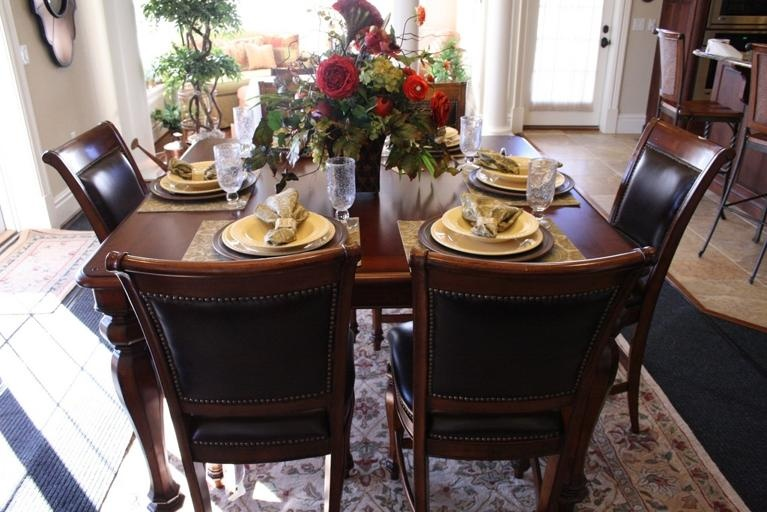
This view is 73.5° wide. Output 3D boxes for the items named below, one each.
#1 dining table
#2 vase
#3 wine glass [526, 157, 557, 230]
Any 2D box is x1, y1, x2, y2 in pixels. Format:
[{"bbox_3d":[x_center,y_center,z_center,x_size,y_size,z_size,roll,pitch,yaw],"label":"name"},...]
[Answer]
[{"bbox_3d":[-0.462,0.497,2.516,1.698,0.945,1.313,-1,40,-4],"label":"dining table"},{"bbox_3d":[-0.119,-0.392,2.126,0.219,0.267,0.197,-1,29,0],"label":"vase"},{"bbox_3d":[0.592,-0.233,1.937,0.107,0.266,0.102,7,30,22],"label":"wine glass"}]
